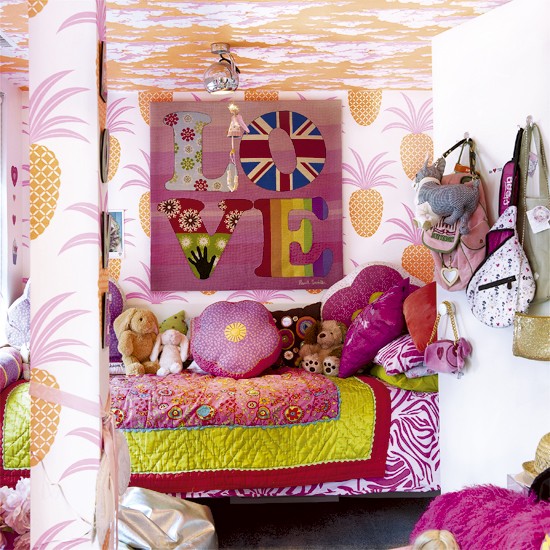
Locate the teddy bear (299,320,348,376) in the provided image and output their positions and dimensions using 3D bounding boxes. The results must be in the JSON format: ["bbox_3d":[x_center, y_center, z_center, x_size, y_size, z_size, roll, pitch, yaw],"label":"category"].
[{"bbox_3d":[0.308,0.423,3.244,0.316,0.366,0.225,8,14,21],"label":"teddy bear"}]

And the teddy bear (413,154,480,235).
[{"bbox_3d":[0.673,-0.321,2.174,0.123,0.269,0.367,-5,12,-28],"label":"teddy bear"}]

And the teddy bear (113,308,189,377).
[{"bbox_3d":[-0.726,0.420,3.277,0.486,0.464,0.354,6,-17,-42],"label":"teddy bear"}]

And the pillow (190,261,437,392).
[{"bbox_3d":[0.556,0.349,3.264,0.843,0.802,0.255,-1,-30,10],"label":"pillow"}]

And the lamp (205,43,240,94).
[{"bbox_3d":[-0.280,-1.057,2.788,0.173,0.206,0.156,-1,2,-15],"label":"lamp"}]
